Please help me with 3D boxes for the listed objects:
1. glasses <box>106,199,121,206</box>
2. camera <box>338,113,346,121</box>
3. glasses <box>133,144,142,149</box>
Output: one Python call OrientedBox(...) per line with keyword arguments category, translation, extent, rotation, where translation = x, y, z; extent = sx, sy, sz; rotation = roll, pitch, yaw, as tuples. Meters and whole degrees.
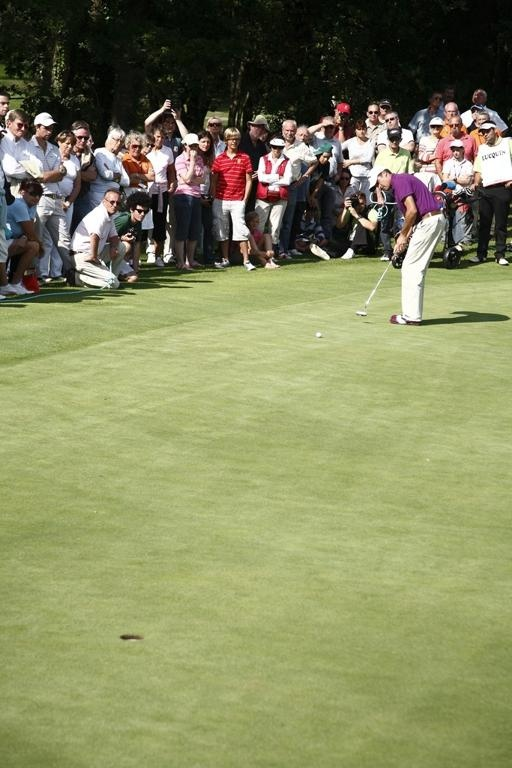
OrientedBox(category="glasses", translation=(-2.019, -2.567, 11.957), extent=(0.160, 0.094, 0.092), rotation=(-2, 13, -24))
OrientedBox(category="camera", translation=(1.813, -5.585, 17.656), extent=(0.142, 0.032, 0.125), rotation=(0, -26, -7))
OrientedBox(category="glasses", translation=(-1.902, -3.810, 13.552), extent=(0.096, 0.083, 0.038), rotation=(5, 26, -4))
